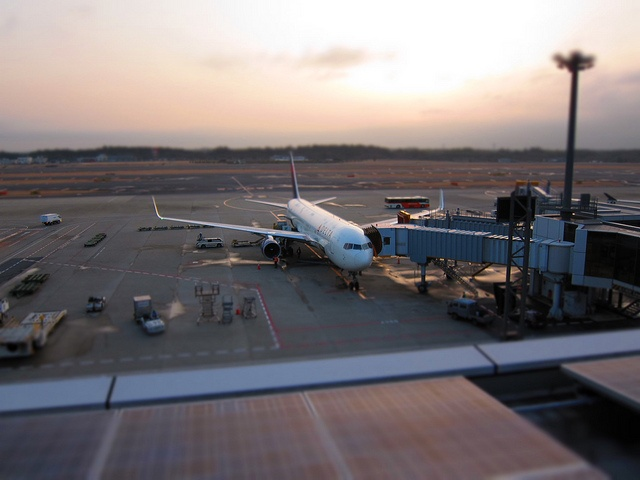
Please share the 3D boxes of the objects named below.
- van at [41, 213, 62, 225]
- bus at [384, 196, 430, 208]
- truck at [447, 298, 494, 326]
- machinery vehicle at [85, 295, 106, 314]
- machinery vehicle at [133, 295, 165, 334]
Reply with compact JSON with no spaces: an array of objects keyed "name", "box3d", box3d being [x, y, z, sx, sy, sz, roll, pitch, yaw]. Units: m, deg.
[{"name":"van","box3d":[-48.291,-3.905,77.041,2.522,1.625,3.738,18,23,32]},{"name":"bus","box3d":[18.900,-8.294,93.771,11.356,1.969,2.946,0,4,1]},{"name":"truck","box3d":[12.379,5.750,34.449,2.101,1.137,3.290,-3,8,-43]},{"name":"machinery vehicle","box3d":[-19.127,5.513,36.181,1.309,0.898,1.414,-3,14,-11]},{"name":"machinery vehicle","box3d":[-13.442,5.903,33.298,1.893,1.673,4.097,-11,8,-33]}]
